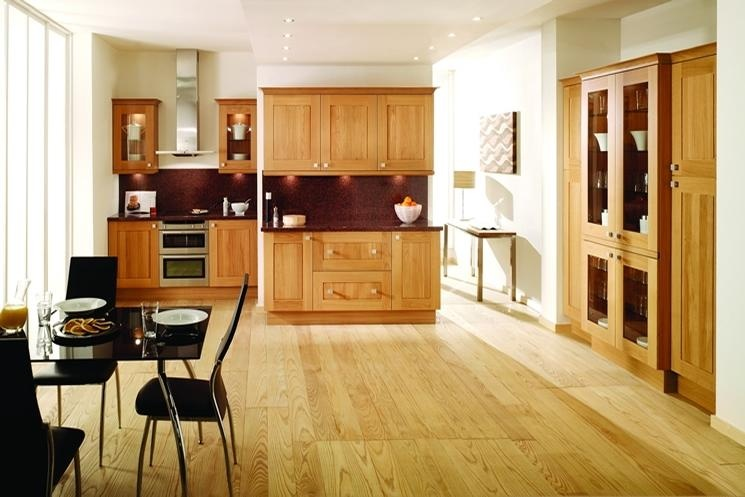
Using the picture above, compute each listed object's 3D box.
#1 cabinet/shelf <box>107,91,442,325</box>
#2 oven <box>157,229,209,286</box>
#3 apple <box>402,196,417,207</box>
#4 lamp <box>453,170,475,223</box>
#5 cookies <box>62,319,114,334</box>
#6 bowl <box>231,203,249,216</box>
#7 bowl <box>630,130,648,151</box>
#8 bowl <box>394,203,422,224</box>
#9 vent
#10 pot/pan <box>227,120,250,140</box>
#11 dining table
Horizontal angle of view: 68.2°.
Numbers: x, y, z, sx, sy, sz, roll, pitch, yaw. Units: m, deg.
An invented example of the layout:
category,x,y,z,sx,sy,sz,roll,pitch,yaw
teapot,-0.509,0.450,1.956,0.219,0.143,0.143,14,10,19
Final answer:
category,x,y,z,sx,sy,sz,roll,pitch,yaw
cabinet/shelf,-1.241,-0.513,7.061,3.249,2.594,0.858,0,-1,-1
oven,-2.746,0.161,7.993,0.751,0.951,0.716,-3,-15,-10
apple,0.438,-0.576,6.956,0.151,0.065,0.151,-1,-1,-30
lamp,1.551,-0.869,9.244,0.337,0.943,1.224,3,14,10
cookies,-1.915,0.526,3.695,0.152,0.051,0.161,21,9,39
bowl,-1.941,-0.557,8.001,0.237,0.158,0.195,-1,1,-40
bowl,2.377,-0.961,4.907,0.154,0.120,0.144,1,9,0
bowl,0.436,-0.444,6.945,0.279,0.195,0.282,0,5,0
vent,-2.689,-2.115,8.028,0.830,1.499,0.525,0,14,-11
pot/pan,-1.925,-1.662,7.881,0.327,0.217,0.230,-1,2,-7
dining table,-1.698,0.676,3.891,1.170,0.665,1.169,0,11,-5
